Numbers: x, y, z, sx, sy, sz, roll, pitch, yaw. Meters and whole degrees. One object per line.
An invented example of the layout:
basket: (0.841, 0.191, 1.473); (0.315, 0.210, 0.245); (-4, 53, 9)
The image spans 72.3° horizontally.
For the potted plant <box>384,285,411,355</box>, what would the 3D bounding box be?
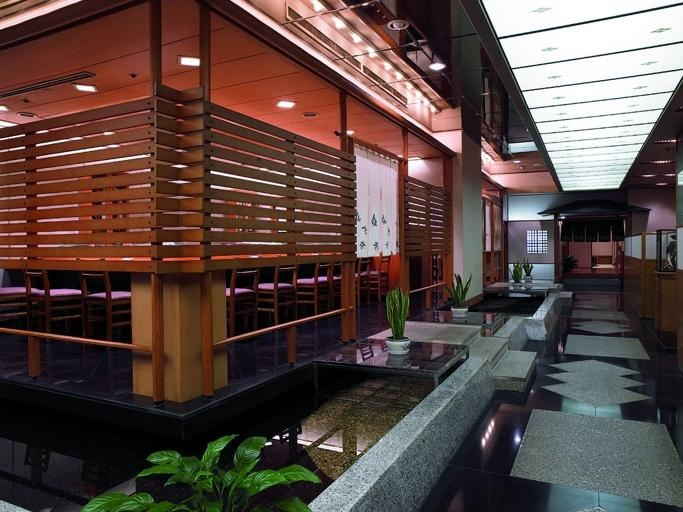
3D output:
potted plant: (0.522, 0.580, 4.312); (0.224, 0.588, 0.414); (3, 6, 8)

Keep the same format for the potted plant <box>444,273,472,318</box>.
potted plant: (1.592, 0.541, 6.393); (0.343, 0.535, 0.358); (10, -3, -22)
